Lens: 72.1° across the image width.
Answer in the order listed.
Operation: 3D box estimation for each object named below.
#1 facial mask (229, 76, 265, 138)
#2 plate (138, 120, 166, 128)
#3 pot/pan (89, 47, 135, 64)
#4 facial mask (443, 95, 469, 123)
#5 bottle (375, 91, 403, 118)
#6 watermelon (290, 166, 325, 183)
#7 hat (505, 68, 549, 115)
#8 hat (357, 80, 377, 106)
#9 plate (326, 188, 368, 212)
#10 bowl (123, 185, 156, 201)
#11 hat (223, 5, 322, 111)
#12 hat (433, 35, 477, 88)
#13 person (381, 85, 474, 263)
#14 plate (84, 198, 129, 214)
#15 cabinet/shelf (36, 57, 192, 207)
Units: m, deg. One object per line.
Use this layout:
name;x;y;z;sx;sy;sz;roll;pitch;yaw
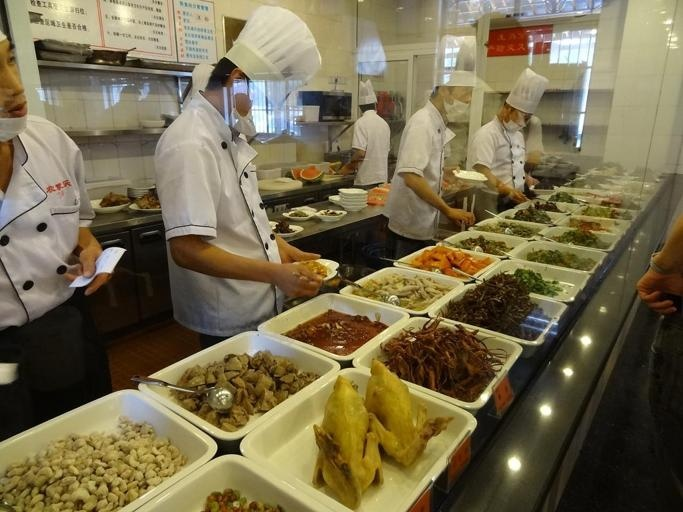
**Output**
facial mask;-0.356;-0.551;1.751;0.088;0.147;0.107;2;4;-38
plate;-1.712;-1.188;4.207;0.131;0.044;0.131;-1;10;-5
pot/pan;-1.823;-1.558;3.669;0.256;0.086;0.157;0;5;4
facial mask;0.616;-0.788;2.531;0.093;0.060;0.082;24;24;21
bottle;0.276;-0.936;2.887;0.125;0.170;0.125;0;34;0
watermelon;-0.338;-0.789;4.477;0.224;0.109;0.178;14;22;4
hat;0.939;-0.833;2.383;0.181;0.191;0.167;13;45;-4
hat;0.143;-0.996;2.851;0.165;0.146;0.113;15;26;38
plate;0.049;-0.419;3.519;0.224;0.141;0.323;-1;16;-4
bowl;-1.656;-0.531;3.878;0.213;0.112;0.466;-10;21;-23
hat;-0.243;-0.706;1.701;0.330;0.310;0.104;-15;24;-33
hat;0.572;-0.987;2.366;0.208;0.238;0.105;5;21;19
person;0.484;-0.486;2.817;0.596;1.036;0.409;8;22;27
plate;-1.616;-0.348;3.259;0.279;0.057;0.274;-6;20;-32
cabinet/shelf;-1.800;-1.110;4.075;0.418;1.076;1.199;7;16;37
